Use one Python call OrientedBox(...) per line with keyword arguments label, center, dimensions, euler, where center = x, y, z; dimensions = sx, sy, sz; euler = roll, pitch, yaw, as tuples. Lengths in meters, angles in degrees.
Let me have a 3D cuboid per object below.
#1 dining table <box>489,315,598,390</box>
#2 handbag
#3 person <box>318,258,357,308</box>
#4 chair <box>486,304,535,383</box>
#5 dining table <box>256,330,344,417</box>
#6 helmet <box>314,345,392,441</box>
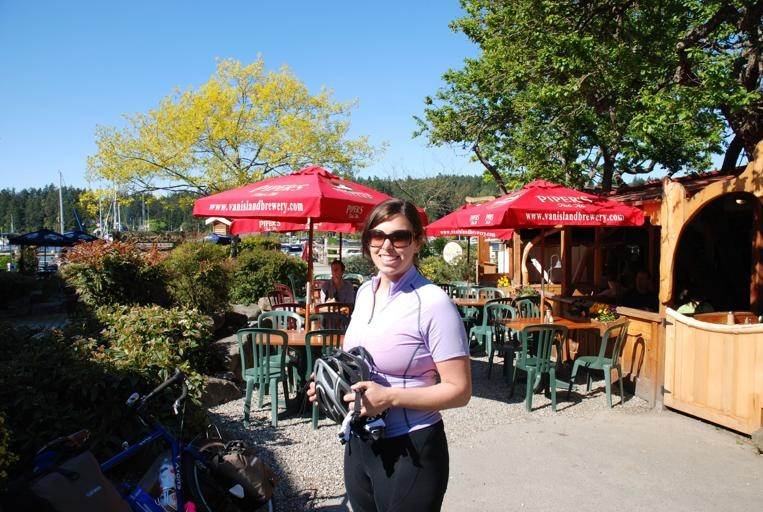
OrientedBox(label="dining table", center=(3.146, 1.714, 10.105), dimensions=(1.233, 0.816, 1.241), euler=(1, -4, -18))
OrientedBox(label="handbag", center=(-1.366, 2.175, 5.599), dimensions=(0.353, 0.495, 0.667), euler=(-35, 51, -15))
OrientedBox(label="person", center=(-0.869, 0.505, 11.168), dimensions=(0.869, 1.310, 0.844), euler=(-1, -2, -3))
OrientedBox(label="chair", center=(2.816, 1.483, 11.210), dimensions=(0.921, 1.696, 1.202), euler=(1, -3, -7))
OrientedBox(label="dining table", center=(-1.309, 1.483, 8.802), dimensions=(1.391, 1.354, 1.769), euler=(0, -1, -1))
OrientedBox(label="helmet", center=(-0.191, 0.985, 4.194), dimensions=(0.296, 0.704, 0.478), euler=(-14, 11, -39))
